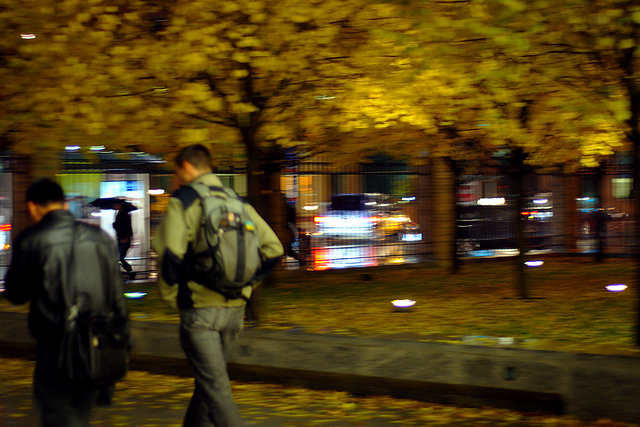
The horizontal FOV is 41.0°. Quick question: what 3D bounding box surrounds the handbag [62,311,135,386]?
[{"bbox_3d":[-2.020,1.235,7.859,0.590,0.695,0.269,-3,3,-42],"label":"handbag"}]
